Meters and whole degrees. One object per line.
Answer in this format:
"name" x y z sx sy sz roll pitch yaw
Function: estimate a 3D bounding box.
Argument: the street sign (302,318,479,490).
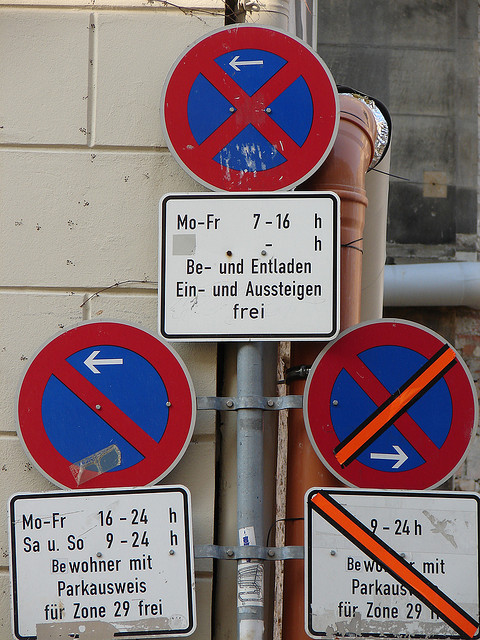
"street sign" 0.470 0.285 5.727 0.445 0.039 0.643 1 78 5

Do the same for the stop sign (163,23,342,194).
"stop sign" 0.032 -0.700 5.847 0.355 0.029 0.458 -26 85 -4

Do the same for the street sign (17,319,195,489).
"street sign" -0.444 0.292 5.783 0.396 0.069 0.563 2 72 7
